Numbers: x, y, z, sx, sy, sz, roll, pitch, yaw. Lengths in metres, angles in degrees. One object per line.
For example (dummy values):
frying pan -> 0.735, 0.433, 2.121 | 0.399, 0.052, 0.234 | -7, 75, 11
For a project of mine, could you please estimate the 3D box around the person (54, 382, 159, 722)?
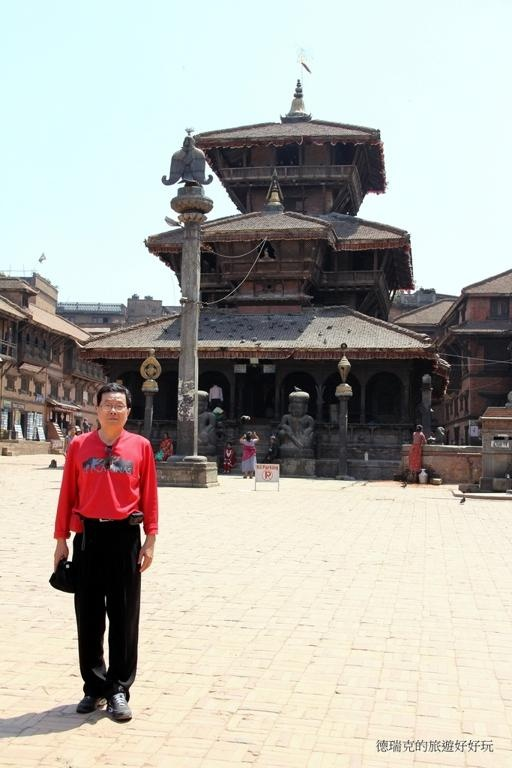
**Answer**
person -> -0.775, 0.832, 4.418 | 0.550, 1.631, 0.363 | -2, -7, 1

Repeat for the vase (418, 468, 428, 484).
vase -> 4.225, 2.341, 21.677 | 0.238, 0.356, 0.444 | 0, -3, 16

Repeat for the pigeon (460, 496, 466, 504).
pigeon -> 3.861, 2.171, 15.933 | 0.102, 0.150, 0.339 | -2, -19, 9

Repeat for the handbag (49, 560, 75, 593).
handbag -> -0.980, 0.975, 4.332 | 0.113, 0.173, 0.128 | 2, -3, -15
